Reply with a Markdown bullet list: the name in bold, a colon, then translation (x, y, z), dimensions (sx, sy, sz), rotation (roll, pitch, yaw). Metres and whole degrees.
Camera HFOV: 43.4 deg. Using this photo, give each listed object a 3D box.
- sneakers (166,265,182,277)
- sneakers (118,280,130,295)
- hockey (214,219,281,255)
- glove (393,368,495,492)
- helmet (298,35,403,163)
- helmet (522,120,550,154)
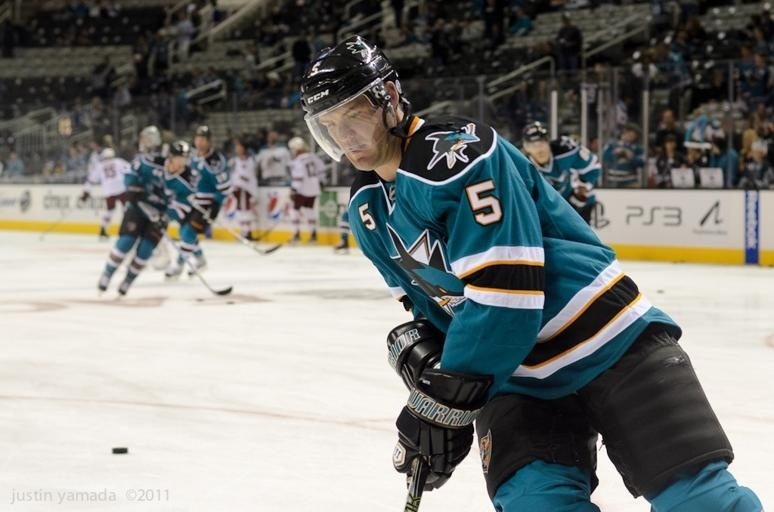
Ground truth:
- **sneakers**: translation (-2.413, 0.167, 10.927), dimensions (0.156, 0.116, 0.114), rotation (-5, 1, 34)
- **sneakers**: translation (-2.587, 0.309, 9.571), dimensions (0.097, 0.163, 0.047), rotation (13, -20, 4)
- **hockey**: translation (-2.108, -0.292, 14.944), dimensions (0.207, 0.311, 1.757), rotation (-4, 15, -34)
- **glove**: translation (0.266, 0.756, 4.628), dimensions (0.328, 0.631, 0.210), rotation (27, 14, 7)
- **helmet**: translation (-0.189, -0.785, 4.781), dimensions (0.488, 0.579, 0.618), rotation (-11, 16, 19)
- **helmet**: translation (1.418, -1.195, 9.453), dimensions (0.247, 0.297, 0.310), rotation (-21, -6, 7)
